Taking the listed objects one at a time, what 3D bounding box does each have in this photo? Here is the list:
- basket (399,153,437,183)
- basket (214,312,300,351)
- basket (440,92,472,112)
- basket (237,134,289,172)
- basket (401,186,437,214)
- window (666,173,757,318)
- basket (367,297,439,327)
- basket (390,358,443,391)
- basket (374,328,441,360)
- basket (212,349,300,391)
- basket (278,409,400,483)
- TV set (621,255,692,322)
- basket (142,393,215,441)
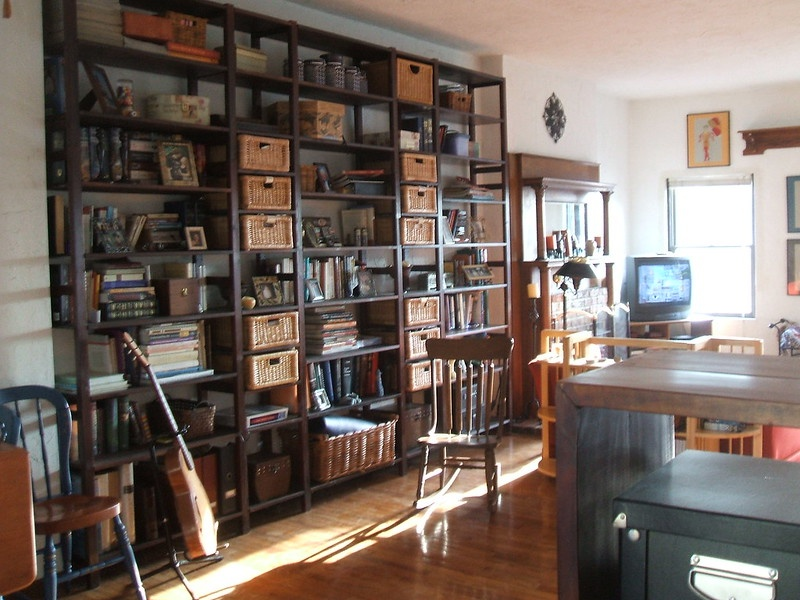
[{"bbox_3d":[0.140,-0.965,4.881,0.203,0.226,0.360,9,12,39],"label":"basket"},{"bbox_3d":[-0.824,0.158,4.059,0.403,0.168,0.301,2,1,-37],"label":"basket"},{"bbox_3d":[0.456,-1.584,5.370,0.167,0.105,0.255,4,6,33],"label":"basket"},{"bbox_3d":[-0.851,-0.866,3.976,0.309,0.191,0.181,-4,-2,-44],"label":"basket"},{"bbox_3d":[0.147,-0.747,4.926,0.200,0.200,0.337,4,7,36],"label":"basket"},{"bbox_3d":[3.779,-0.644,8.024,0.957,1.688,0.101,0,4,33],"label":"window"},{"bbox_3d":[-0.015,0.092,4.898,0.263,0.146,0.347,1,4,35],"label":"basket"},{"bbox_3d":[0.184,0.557,4.908,0.266,0.202,0.434,-1,0,23],"label":"basket"},{"bbox_3d":[0.067,0.300,4.898,0.254,0.133,0.354,1,3,31],"label":"basket"},{"bbox_3d":[-0.842,0.382,3.957,0.240,0.136,0.346,1,7,37],"label":"basket"},{"bbox_3d":[-0.369,0.952,4.464,0.394,0.301,0.621,-5,-3,41],"label":"basket"},{"bbox_3d":[2.954,-0.106,7.864,0.998,0.847,0.568,-3,3,-23],"label":"TV set"},{"bbox_3d":[-1.195,0.647,3.654,0.315,0.154,0.219,-5,-3,44],"label":"basket"}]
